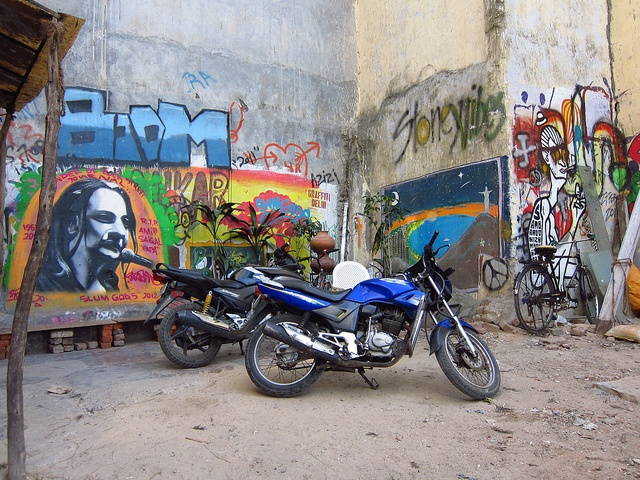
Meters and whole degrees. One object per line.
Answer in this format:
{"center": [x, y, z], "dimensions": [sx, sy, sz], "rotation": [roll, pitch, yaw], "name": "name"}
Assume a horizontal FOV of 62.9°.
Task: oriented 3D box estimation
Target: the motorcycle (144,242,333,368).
{"center": [-0.929, 0.731, 6.820], "dimensions": [2.160, 1.682, 1.023], "rotation": [-3, -9, -18], "name": "motorcycle"}

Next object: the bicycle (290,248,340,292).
{"center": [-0.092, 0.549, 9.070], "dimensions": [0.444, 0.575, 0.820], "rotation": [0, -13, -1], "name": "bicycle"}

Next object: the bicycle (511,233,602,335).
{"center": [3.896, 0.714, 8.404], "dimensions": [1.870, 1.373, 0.888], "rotation": [-2, -3, -21], "name": "bicycle"}
